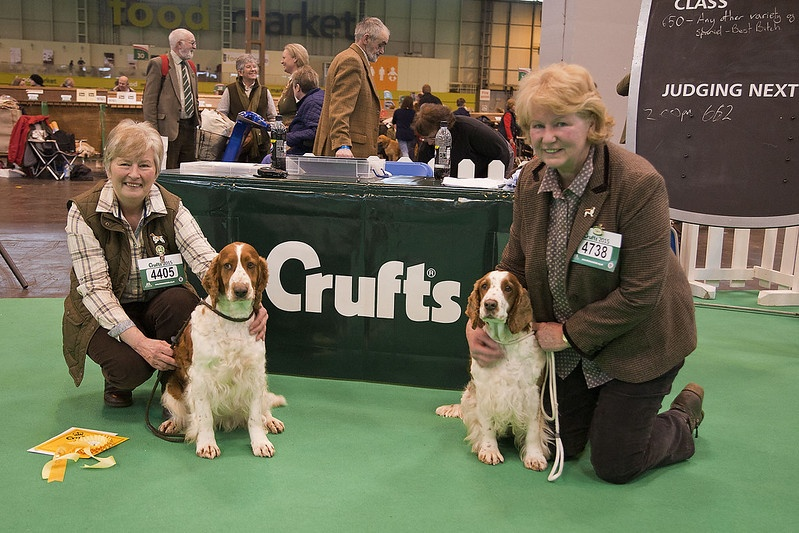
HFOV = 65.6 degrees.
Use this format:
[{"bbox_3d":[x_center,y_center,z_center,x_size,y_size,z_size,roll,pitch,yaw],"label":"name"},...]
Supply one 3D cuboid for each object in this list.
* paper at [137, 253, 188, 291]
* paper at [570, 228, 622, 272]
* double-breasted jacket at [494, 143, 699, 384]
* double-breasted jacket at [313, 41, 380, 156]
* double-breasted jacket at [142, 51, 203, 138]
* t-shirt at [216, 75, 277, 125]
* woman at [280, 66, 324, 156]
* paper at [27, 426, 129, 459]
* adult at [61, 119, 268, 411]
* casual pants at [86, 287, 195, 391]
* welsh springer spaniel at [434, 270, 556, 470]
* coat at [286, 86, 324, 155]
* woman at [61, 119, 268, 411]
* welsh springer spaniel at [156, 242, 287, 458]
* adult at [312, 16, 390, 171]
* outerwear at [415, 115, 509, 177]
[{"bbox_3d":[-1.579,0.028,4.115,0.204,0.161,0.003,-12,11,-27],"label":"paper"},{"bbox_3d":[1.088,-0.100,3.394,0.184,0.181,0.021,14,15,26],"label":"paper"},{"bbox_3d":[1.184,-0.099,3.822,1.100,1.384,1.054,-35,31,-29],"label":"double-breasted jacket"},{"bbox_3d":[-0.486,-1.593,5.946,0.649,1.062,0.716,-1,14,-8],"label":"double-breasted jacket"},{"bbox_3d":[-3.007,-2.252,8.303,0.551,1.184,0.736,9,9,43],"label":"double-breasted jacket"},{"bbox_3d":[-2.064,-2.215,8.504,0.866,0.796,0.458,2,4,-26],"label":"t-shirt"},{"bbox_3d":[-1.184,-1.512,7.594,0.492,1.671,0.683,1,20,-10],"label":"woman"},{"bbox_3d":[-1.961,1.082,3.809,0.481,0.045,0.338,7,16,19],"label":"paper"},{"bbox_3d":[-1.631,0.038,4.149,1.232,1.859,0.939,7,11,16],"label":"adult"},{"bbox_3d":[-1.626,0.467,4.135,0.670,0.719,0.283,-13,-23,33],"label":"casual pants"},{"bbox_3d":[0.609,0.581,3.900,0.547,1.147,1.030,-7,12,-12],"label":"welsh springer spaniel"},{"bbox_3d":[-1.143,-1.731,7.583,0.468,0.909,0.878,5,17,-8],"label":"coat"},{"bbox_3d":[-1.662,0.047,4.158,1.154,1.843,0.945,6,11,16],"label":"woman"},{"bbox_3d":[-1.092,0.473,4.006,0.715,1.263,1.066,3,4,-11],"label":"welsh springer spaniel"},{"bbox_3d":[-0.509,-1.432,6.306,0.605,2.084,1.033,3,25,-7],"label":"adult"},{"bbox_3d":[0.702,-1.167,6.825,0.918,0.788,0.525,-10,-1,33],"label":"outerwear"}]
